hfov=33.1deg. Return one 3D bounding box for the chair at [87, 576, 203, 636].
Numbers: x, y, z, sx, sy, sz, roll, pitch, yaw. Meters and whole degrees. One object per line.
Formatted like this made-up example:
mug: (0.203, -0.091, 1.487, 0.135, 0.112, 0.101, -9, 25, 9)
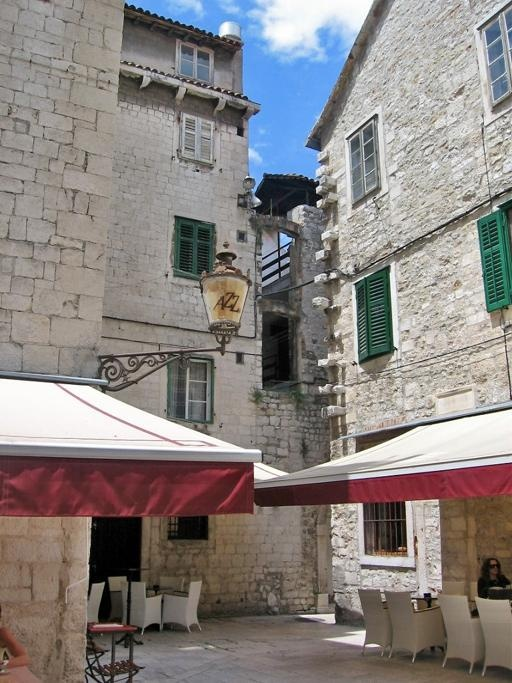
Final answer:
chair: (-1.263, 3.575, 11.623, 0.864, 0.701, 1.495, -5, -13, 19)
